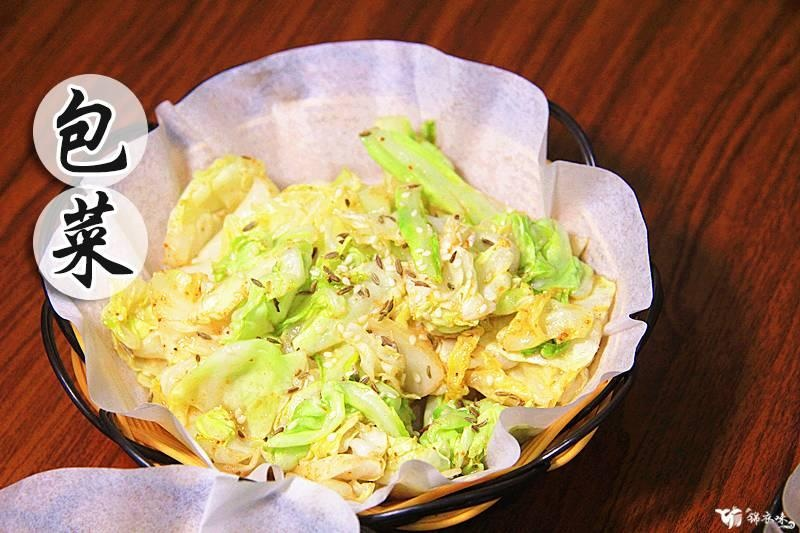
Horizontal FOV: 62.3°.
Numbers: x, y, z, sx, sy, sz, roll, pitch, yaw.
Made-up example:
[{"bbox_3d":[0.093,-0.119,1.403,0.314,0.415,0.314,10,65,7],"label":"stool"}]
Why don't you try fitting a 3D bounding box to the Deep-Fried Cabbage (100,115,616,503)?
[{"bbox_3d":[-0.081,0.128,1.753,1.128,0.362,0.984,-31,62,-25],"label":"Deep-Fried Cabbage"}]
